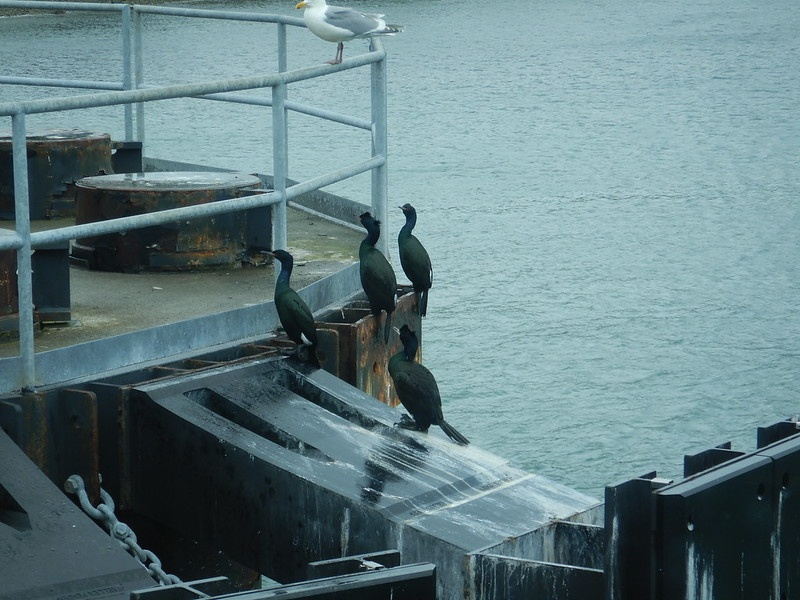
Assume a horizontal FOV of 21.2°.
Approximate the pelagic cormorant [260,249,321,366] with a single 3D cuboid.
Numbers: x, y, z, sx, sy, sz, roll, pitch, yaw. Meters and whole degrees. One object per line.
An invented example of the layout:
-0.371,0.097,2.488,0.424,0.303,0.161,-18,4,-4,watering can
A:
-1.011,0.094,20.340,0.417,1.030,0.572,0,12,-4,pelagic cormorant
